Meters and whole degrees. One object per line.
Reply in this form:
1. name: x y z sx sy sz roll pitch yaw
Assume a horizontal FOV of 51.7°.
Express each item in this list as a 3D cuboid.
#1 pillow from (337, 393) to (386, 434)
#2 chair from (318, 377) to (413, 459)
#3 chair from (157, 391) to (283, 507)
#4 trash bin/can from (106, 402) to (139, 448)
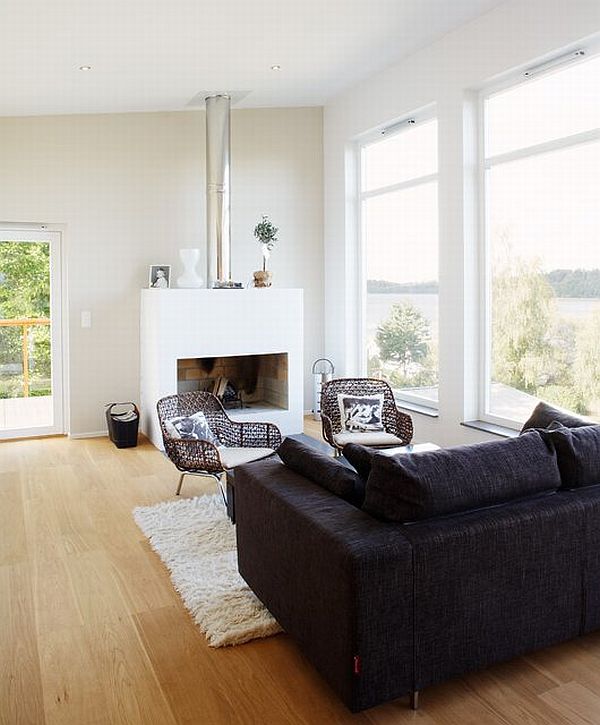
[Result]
1. pillow: 0.459 0.390 4.608 0.289 0.235 0.106 0 -19 3
2. chair: 0.473 0.493 4.545 0.649 0.689 0.580 -2 -1 -15
3. chair: -0.538 0.538 4.159 0.770 0.557 0.752 -4 7 -40
4. trash bin/can: -1.605 0.544 5.662 0.248 0.361 0.361 -3 8 -22
